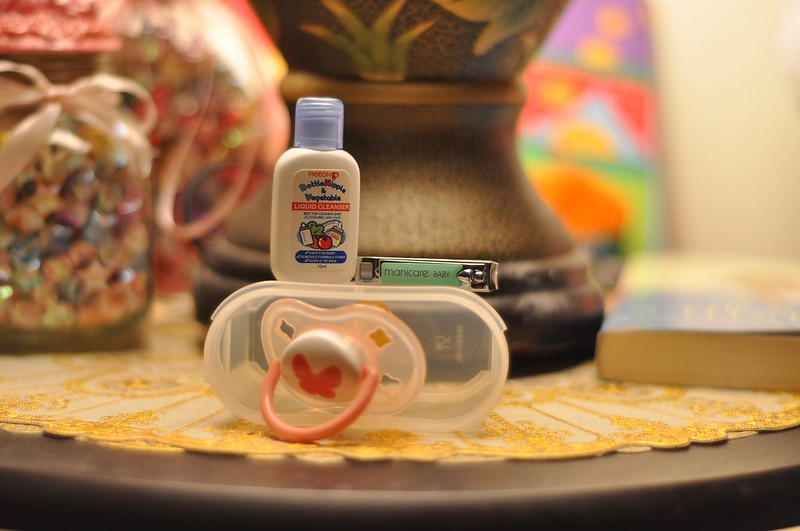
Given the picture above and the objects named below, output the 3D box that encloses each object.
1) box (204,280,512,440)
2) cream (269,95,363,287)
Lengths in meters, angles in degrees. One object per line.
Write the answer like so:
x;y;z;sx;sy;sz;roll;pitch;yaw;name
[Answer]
-0.024;0.065;0.497;0.179;0.119;0.074;0;2;0;box
-0.059;-0.058;0.564;0.069;0.136;0.048;-1;15;3;cream
